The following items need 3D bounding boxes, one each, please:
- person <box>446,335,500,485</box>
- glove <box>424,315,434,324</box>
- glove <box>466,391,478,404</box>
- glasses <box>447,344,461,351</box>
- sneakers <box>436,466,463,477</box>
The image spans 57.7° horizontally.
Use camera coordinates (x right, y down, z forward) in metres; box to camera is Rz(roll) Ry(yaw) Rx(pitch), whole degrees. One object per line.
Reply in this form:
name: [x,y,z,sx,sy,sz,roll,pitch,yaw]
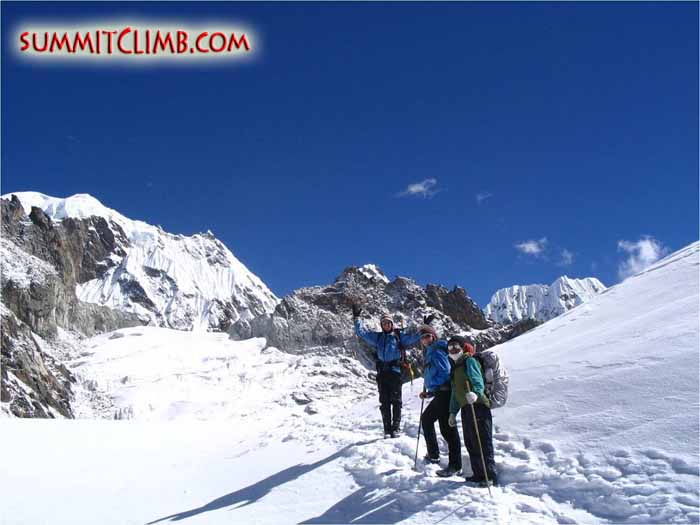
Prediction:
person: [2.982,3.690,15.560,1.124,3.557,1.475,14,-38,-12]
glove: [2.087,1.499,16.788,0.272,0.248,0.403,-2,-5,7]
glove: [2.939,3.226,15.187,0.261,0.298,0.239,-3,-5,22]
glasses: [2.583,2.116,15.824,0.157,0.174,0.060,-12,-9,23]
sneakers: [2.445,5.141,15.693,0.572,0.274,0.256,3,-11,-1]
